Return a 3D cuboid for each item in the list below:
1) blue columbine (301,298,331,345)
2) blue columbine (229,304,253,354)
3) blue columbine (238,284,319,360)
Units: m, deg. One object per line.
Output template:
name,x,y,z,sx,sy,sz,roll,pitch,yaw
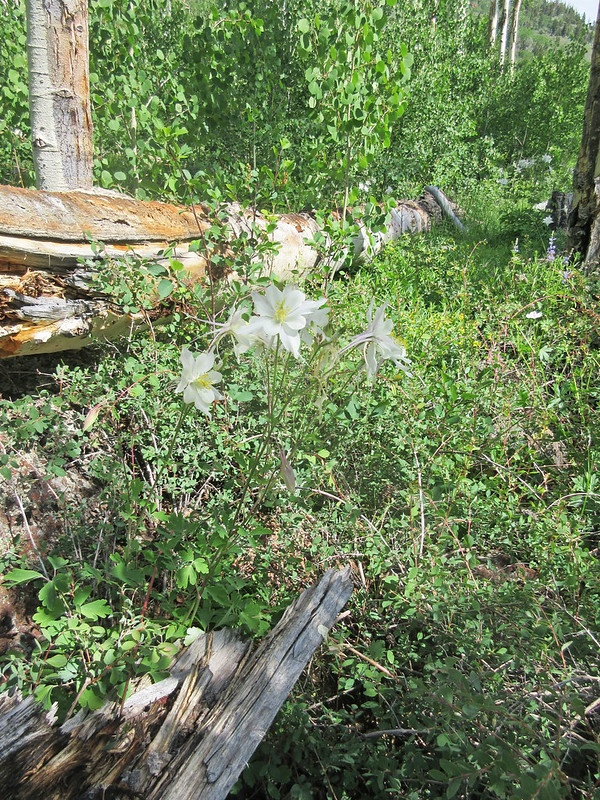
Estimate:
blue columbine,0.032,-0.172,1.342,0.102,0.097,0.050,3,37,-1
blue columbine,-0.136,-0.148,1.360,0.043,0.087,0.091,-4,-17,-19
blue columbine,-0.028,-0.162,1.267,0.169,0.148,0.082,1,24,-5
